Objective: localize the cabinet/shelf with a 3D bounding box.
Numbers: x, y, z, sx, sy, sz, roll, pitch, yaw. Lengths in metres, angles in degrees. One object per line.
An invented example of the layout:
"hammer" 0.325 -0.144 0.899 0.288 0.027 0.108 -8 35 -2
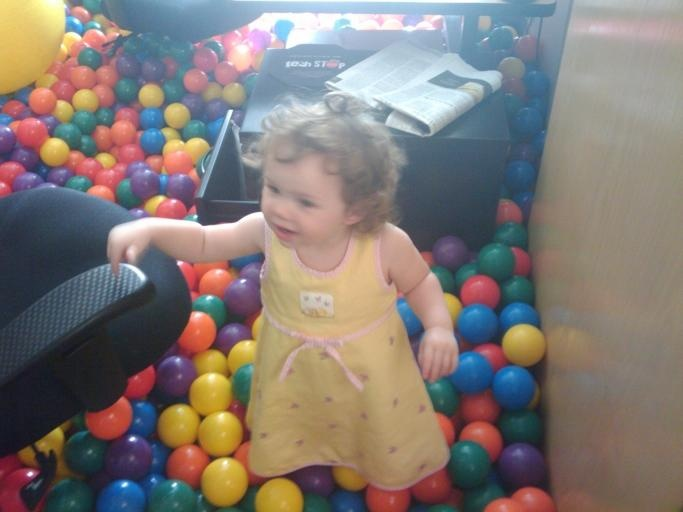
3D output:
"cabinet/shelf" 0.075 -0.481 2.226 0.837 0.587 0.886 6 38 -5
